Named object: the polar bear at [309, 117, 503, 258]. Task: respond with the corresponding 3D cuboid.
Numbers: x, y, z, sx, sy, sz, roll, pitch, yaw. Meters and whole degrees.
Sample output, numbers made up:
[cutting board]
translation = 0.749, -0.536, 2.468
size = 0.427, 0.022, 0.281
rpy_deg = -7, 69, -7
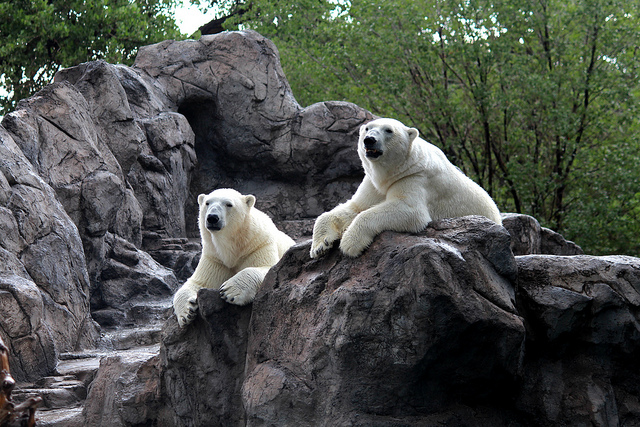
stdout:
[polar bear]
translation = 1.222, -0.332, 12.676
size = 2.517, 2.337, 0.670
rpy_deg = 8, -12, -2
